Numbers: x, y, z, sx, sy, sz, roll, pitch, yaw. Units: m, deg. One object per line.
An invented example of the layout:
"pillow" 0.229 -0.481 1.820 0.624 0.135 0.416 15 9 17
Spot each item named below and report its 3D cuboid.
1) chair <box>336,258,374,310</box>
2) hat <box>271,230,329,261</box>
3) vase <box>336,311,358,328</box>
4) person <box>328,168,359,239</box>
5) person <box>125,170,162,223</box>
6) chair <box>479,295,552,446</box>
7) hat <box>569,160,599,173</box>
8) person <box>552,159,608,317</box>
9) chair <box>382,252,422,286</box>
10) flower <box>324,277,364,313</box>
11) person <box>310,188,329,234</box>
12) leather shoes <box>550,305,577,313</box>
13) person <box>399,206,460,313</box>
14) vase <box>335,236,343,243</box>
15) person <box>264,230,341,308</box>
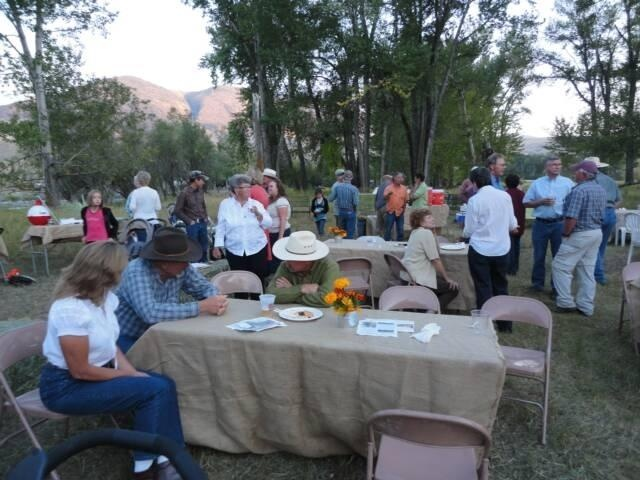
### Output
"chair" 0.473 0.660 8.377 0.590 1.004 0.740 -3 14 5
"hat" -0.230 0.075 6.478 0.606 0.365 0.372 -1 10 -9
"vase" 0.284 0.794 5.800 0.159 0.135 0.170 1 8 3
"person" 0.578 -0.618 12.510 0.565 1.868 0.641 8 21 23
"person" -3.204 -0.741 10.325 0.548 0.951 0.630 -2 11 -14
"chair" 2.088 1.403 6.098 0.998 1.368 0.911 -13 14 -41
"hat" 3.798 -1.031 8.223 0.207 0.179 0.333 -5 16 -34
"person" 3.720 -0.007 8.235 0.626 2.216 0.418 5 11 24
"chair" 1.098 0.465 7.954 0.435 0.623 0.346 -13 17 -24
"flower" 0.274 0.558 5.872 0.317 0.374 0.347 1 0 4
"person" -0.011 -0.622 13.970 0.380 1.289 0.799 0 10 0
"leather shoes" 3.592 1.057 8.429 0.327 0.157 0.127 -4 -1 29
"person" 1.500 0.466 7.861 0.786 1.770 0.728 1 -4 11
"vase" 0.292 0.007 9.263 0.092 0.081 0.103 0 -3 4
"person" -0.185 0.266 6.622 0.747 0.740 1.345 -3 20 17
